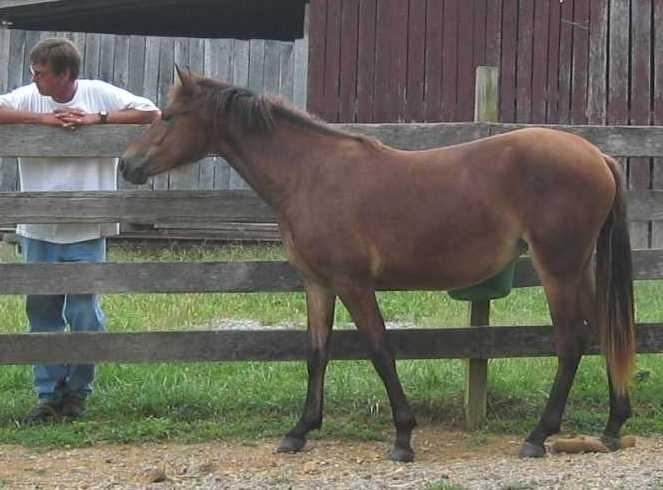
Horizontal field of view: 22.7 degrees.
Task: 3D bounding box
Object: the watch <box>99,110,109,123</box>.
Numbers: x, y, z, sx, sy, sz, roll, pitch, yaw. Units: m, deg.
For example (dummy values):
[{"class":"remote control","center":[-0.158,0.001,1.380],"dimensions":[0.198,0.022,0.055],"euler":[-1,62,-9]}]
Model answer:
[{"class":"watch","center":[-2.301,-1.289,16.739],"dimensions":[0.073,0.103,0.112],"euler":[4,9,-6]}]
